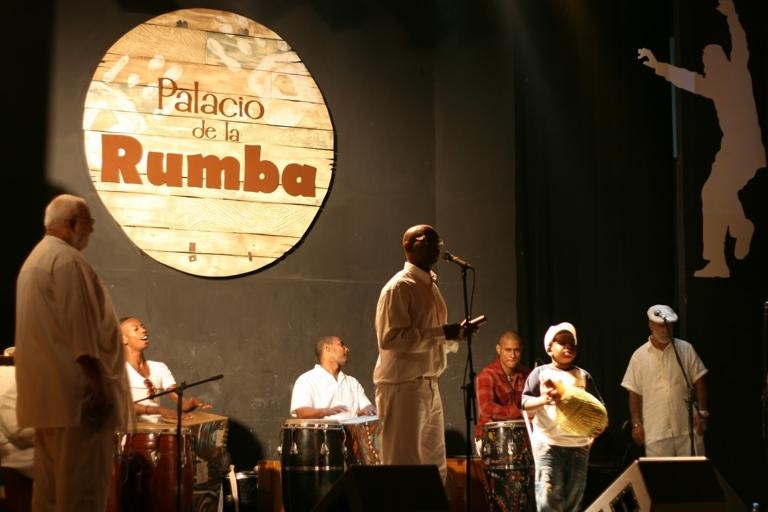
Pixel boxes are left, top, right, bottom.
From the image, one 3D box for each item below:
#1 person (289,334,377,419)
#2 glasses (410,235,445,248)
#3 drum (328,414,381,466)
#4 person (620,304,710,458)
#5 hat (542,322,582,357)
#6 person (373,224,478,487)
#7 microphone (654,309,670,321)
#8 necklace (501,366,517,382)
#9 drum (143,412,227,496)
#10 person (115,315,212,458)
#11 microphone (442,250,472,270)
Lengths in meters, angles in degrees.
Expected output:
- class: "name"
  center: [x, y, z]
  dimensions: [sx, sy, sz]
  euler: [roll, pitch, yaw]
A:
- class: "person"
  center: [-0.465, 1.249, 11.820]
  dimensions: [0.958, 0.937, 0.767]
  euler: [8, -16, -35]
- class: "glasses"
  center: [0.371, -0.125, 10.062]
  dimensions: [0.149, 0.049, 0.156]
  euler: [12, -20, -29]
- class: "drum"
  center: [-0.235, 1.680, 10.715]
  dimensions: [0.406, 0.462, 0.410]
  euler: [0, -3, -33]
- class: "person"
  center: [2.840, 1.587, 11.691]
  dimensions: [0.773, 2.137, 0.545]
  euler: [-4, 8, 12]
- class: "hat"
  center: [1.636, 0.763, 11.022]
  dimensions: [0.245, 0.404, 0.125]
  euler: [5, 16, -3]
- class: "person"
  center: [0.402, 1.082, 9.968]
  dimensions: [0.772, 2.650, 0.840]
  euler: [4, 4, 36]
- class: "microphone"
  center: [2.770, 0.594, 11.588]
  dimensions: [0.054, 0.094, 0.129]
  euler: [-9, -47, 44]
- class: "necklace"
  center: [1.295, 1.214, 11.886]
  dimensions: [0.120, 0.130, 0.123]
  euler: [0, -9, -3]
- class: "drum"
  center: [-1.788, 1.885, 10.855]
  dimensions: [0.546, 0.784, 0.766]
  euler: [1, 0, 22]
- class: "person"
  center: [-2.221, 1.135, 11.311]
  dimensions: [0.831, 1.155, 0.742]
  euler: [-9, -9, 19]
- class: "microphone"
  center: [0.716, 0.042, 11.532]
  dimensions: [0.113, 0.112, 0.377]
  euler: [-24, 26, -24]
